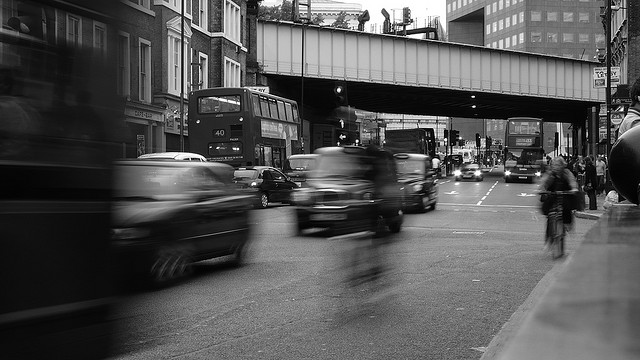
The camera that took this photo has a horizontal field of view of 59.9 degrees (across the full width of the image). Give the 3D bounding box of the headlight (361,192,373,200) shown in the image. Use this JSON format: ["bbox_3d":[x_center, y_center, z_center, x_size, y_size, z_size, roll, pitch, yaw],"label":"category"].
[{"bbox_3d":[0.742,0.254,8.888,0.188,0.100,0.171,-2,1,-4],"label":"headlight"}]

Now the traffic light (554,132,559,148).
[{"bbox_3d":[18.870,-3.194,44.422,0.139,1.110,1.961,1,2,19],"label":"traffic light"}]

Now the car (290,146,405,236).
[{"bbox_3d":[0.644,0.182,10.474,1.620,1.451,2.974,-1,-3,14],"label":"car"}]

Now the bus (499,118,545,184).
[{"bbox_3d":[18.246,-2.781,49.749,3.310,5.544,1.216,1,1,6],"label":"bus"}]

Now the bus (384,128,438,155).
[{"bbox_3d":[8.251,-3.300,52.290,4.253,3.484,7.018,-2,3,15],"label":"bus"}]

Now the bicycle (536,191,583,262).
[{"bbox_3d":[5.439,1.002,12.581,0.547,1.484,0.681,1,2,22],"label":"bicycle"}]

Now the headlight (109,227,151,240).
[{"bbox_3d":[-2.979,0.832,8.788,0.572,0.182,0.118,-1,2,-34],"label":"headlight"}]

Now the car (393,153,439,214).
[{"bbox_3d":[3.889,0.145,22.775,1.813,1.645,3.079,-2,-1,15],"label":"car"}]

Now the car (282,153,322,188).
[{"bbox_3d":[-1.191,-0.443,27.463,1.518,1.282,2.578,0,8,7],"label":"car"}]

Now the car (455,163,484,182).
[{"bbox_3d":[14.434,-0.767,53.946,2.256,1.762,1.956,1,2,17],"label":"car"}]

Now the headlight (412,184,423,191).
[{"bbox_3d":[3.846,0.288,22.057,0.075,0.251,0.651,2,3,42],"label":"headlight"}]

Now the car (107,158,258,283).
[{"bbox_3d":[-2.746,0.556,9.706,1.453,1.347,2.923,0,-4,21],"label":"car"}]
